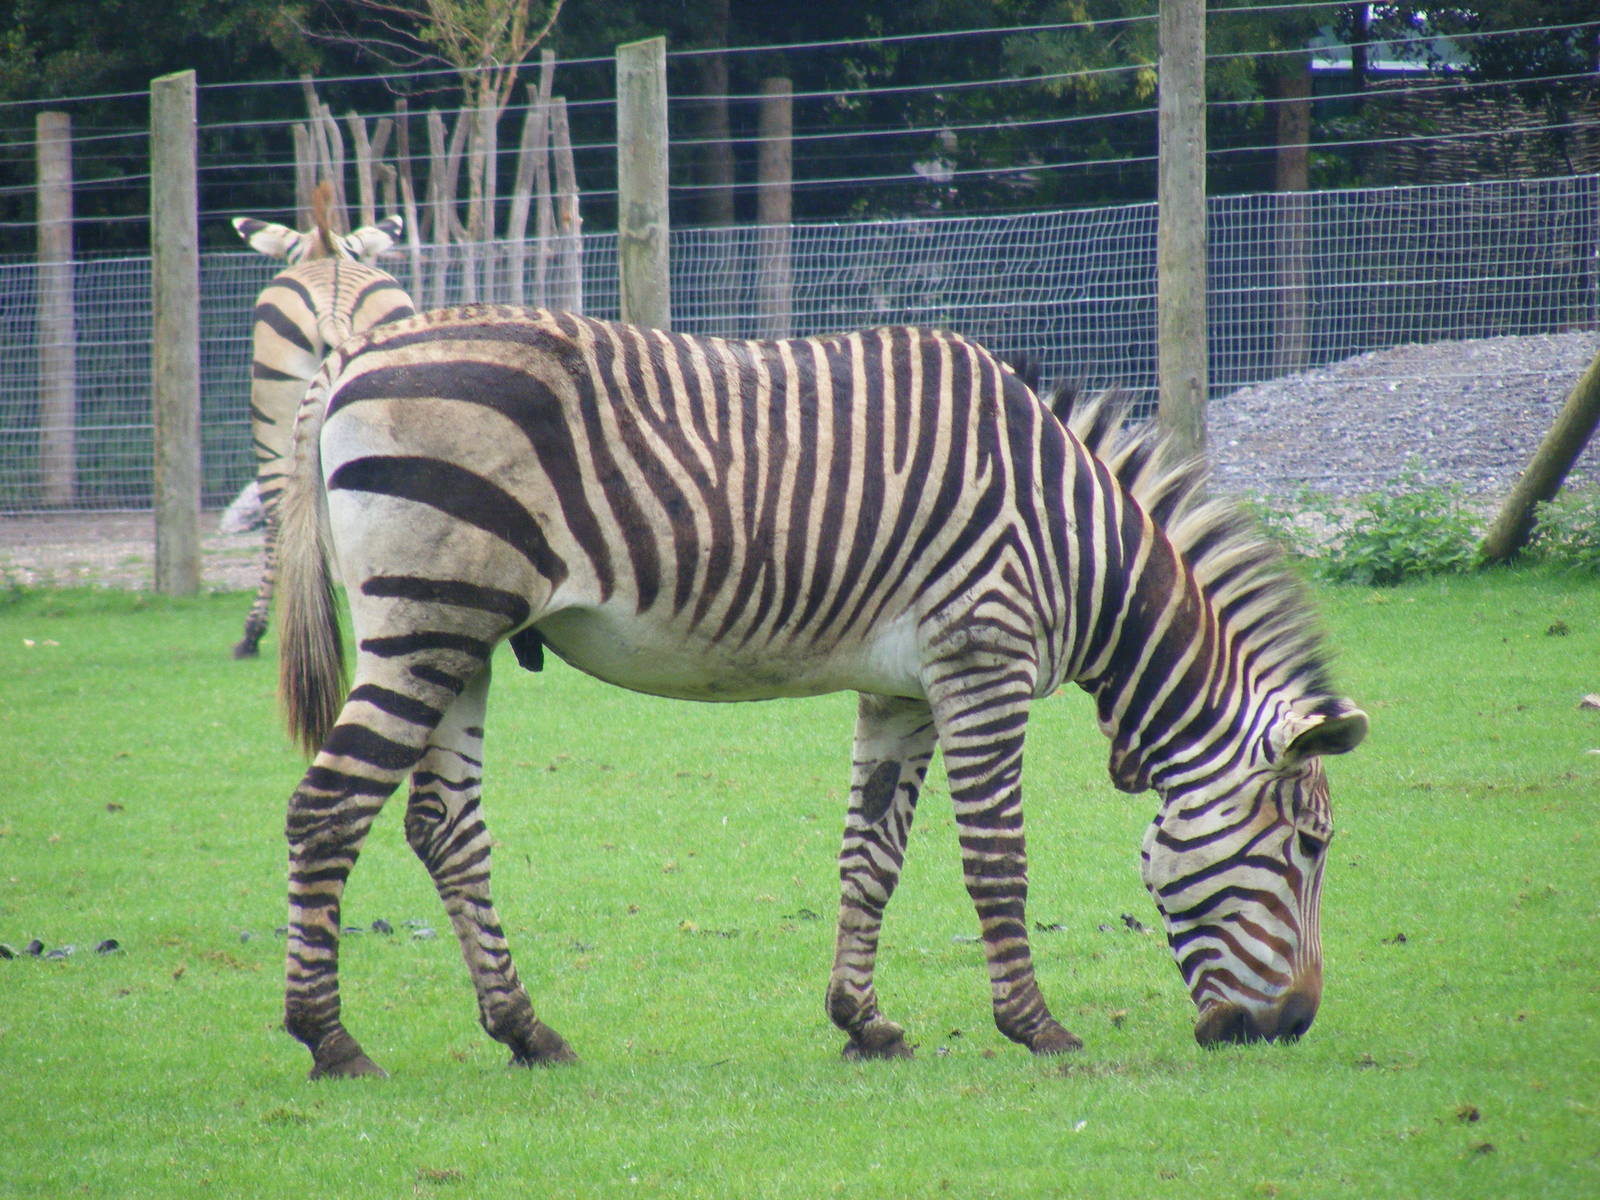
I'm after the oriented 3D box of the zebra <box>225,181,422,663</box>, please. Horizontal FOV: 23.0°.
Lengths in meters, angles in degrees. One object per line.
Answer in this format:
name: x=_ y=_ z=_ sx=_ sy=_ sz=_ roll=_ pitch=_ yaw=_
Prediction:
zebra: x=-4.859 y=-0.802 z=38.171 sx=1.616 sy=3.746 sz=4.984 roll=6 pitch=-19 yaw=-3
